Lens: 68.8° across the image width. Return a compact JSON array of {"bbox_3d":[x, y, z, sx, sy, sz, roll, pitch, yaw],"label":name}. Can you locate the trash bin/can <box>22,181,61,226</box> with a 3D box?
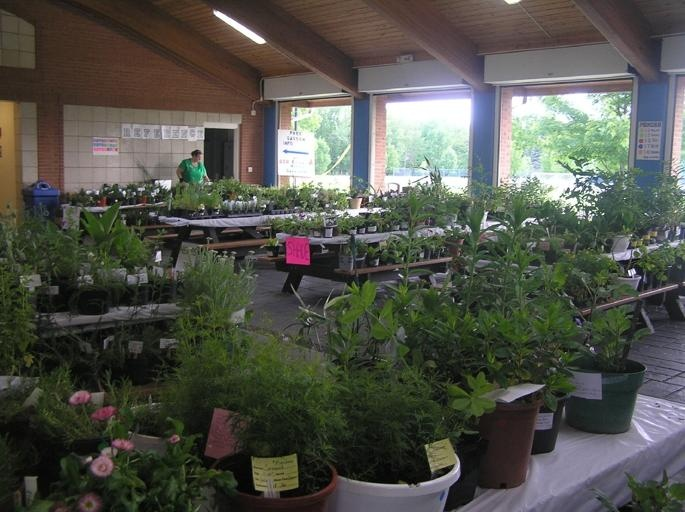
[{"bbox_3d":[-6.129,-1.024,10.196,0.588,0.903,0.619,-2,5,-25],"label":"trash bin/can"}]

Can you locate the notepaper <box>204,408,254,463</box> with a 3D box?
[{"bbox_3d":[-0.384,0.603,1.740,0.198,0.192,0.048,-1,-3,34],"label":"notepaper"}]

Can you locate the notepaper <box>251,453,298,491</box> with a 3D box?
[{"bbox_3d":[-0.207,0.665,1.537,0.138,0.096,0.049,-1,7,-16],"label":"notepaper"}]
